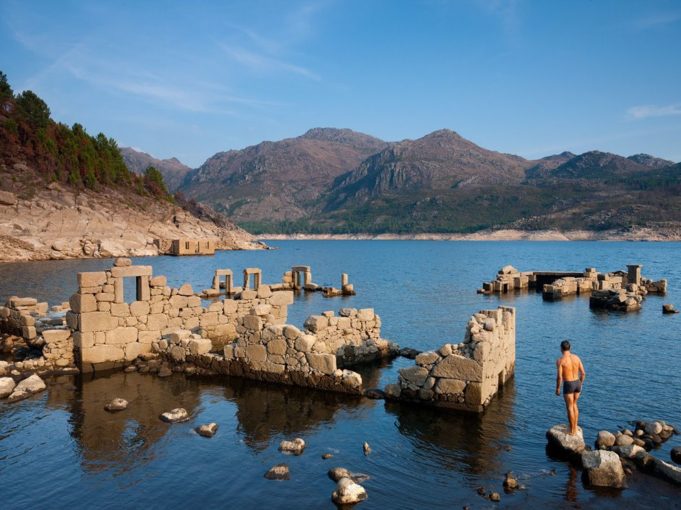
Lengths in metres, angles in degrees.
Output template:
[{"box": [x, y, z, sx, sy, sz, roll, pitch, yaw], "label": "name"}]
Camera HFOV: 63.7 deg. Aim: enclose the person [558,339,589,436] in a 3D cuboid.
[{"box": [7.521, 4.293, 17.736, 0.748, 2.991, 1.077, 0, -4, 25], "label": "person"}]
